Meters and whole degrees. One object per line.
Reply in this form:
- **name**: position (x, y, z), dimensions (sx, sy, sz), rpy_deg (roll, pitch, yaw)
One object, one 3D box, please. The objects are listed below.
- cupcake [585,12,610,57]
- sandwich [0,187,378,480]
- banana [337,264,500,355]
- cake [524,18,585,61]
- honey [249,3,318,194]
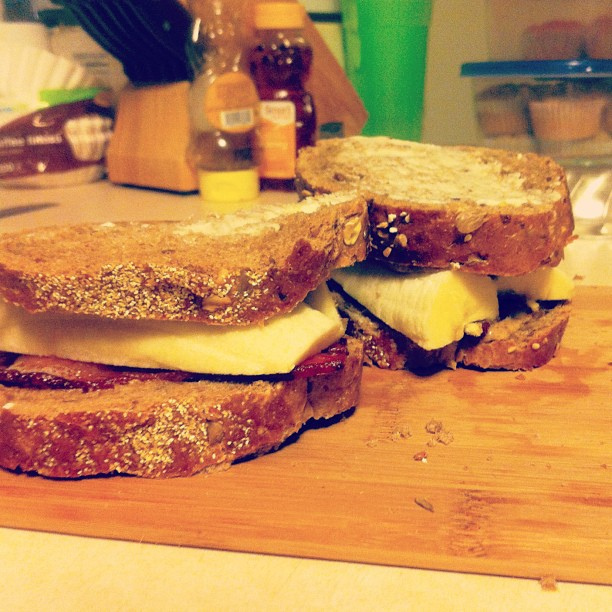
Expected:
- **cupcake**: position (1.161, -1.070, 2.576), dimensions (0.096, 0.140, 0.090), rpy_deg (9, 39, 20)
- **sandwich**: position (-0.238, 0.047, 1.347), dimensions (0.765, 0.425, 0.572), rpy_deg (-7, 37, 0)
- **banana**: position (0.257, -0.046, 1.577), dimensions (0.229, 0.154, 0.400), rpy_deg (-17, 26, -26)
- **cake**: position (1.000, -1.070, 2.610), dimensions (0.211, 0.134, 0.215), rpy_deg (-2, 22, 0)
- **honey**: position (-0.104, -0.729, 2.373), dimensions (0.284, 0.652, 0.176), rpy_deg (-18, 27, -42)
